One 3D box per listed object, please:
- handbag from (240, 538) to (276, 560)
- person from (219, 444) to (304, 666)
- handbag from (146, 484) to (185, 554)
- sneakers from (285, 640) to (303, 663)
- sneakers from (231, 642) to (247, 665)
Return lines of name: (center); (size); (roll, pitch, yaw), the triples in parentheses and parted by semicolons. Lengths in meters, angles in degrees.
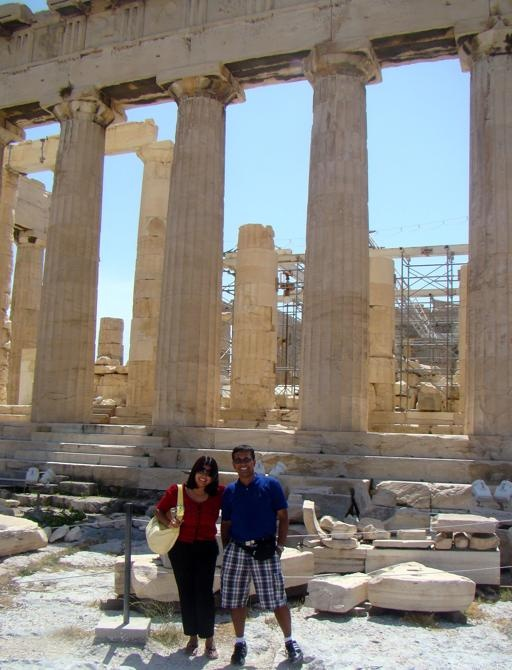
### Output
handbag: (0.037, 1.555, 4.993); (0.156, 0.081, 0.206); (2, -4, -40)
person: (0.036, 1.588, 5.101); (0.597, 1.510, 0.356); (0, -10, 0)
handbag: (-0.667, 1.374, 5.105); (0.312, 0.516, 0.216); (-3, -10, 18)
sneakers: (0.271, 2.234, 4.885); (0.121, 0.151, 0.149); (0, -9, 2)
sneakers: (-0.119, 2.263, 4.918); (0.099, 0.128, 0.219); (-1, -8, 5)
